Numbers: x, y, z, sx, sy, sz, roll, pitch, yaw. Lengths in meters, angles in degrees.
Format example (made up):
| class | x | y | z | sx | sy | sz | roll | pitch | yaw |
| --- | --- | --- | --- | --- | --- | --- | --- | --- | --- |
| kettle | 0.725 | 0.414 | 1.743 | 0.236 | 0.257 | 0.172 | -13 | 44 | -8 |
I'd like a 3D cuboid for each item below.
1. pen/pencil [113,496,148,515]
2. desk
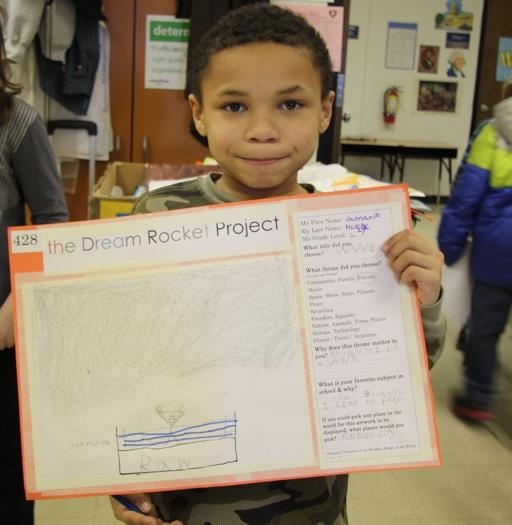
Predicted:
| class | x | y | z | sx | sy | sz | roll | pitch | yaw |
| --- | --- | --- | --- | --- | --- | --- | --- | --- | --- |
| pen/pencil | -0.198 | 0.383 | 0.834 | 0.051 | 0.012 | 0.009 | 38 | -10 | 10 |
| desk | 1.507 | -1.059 | 5.806 | 1.119 | 0.569 | 0.392 | 14 | 26 | 24 |
